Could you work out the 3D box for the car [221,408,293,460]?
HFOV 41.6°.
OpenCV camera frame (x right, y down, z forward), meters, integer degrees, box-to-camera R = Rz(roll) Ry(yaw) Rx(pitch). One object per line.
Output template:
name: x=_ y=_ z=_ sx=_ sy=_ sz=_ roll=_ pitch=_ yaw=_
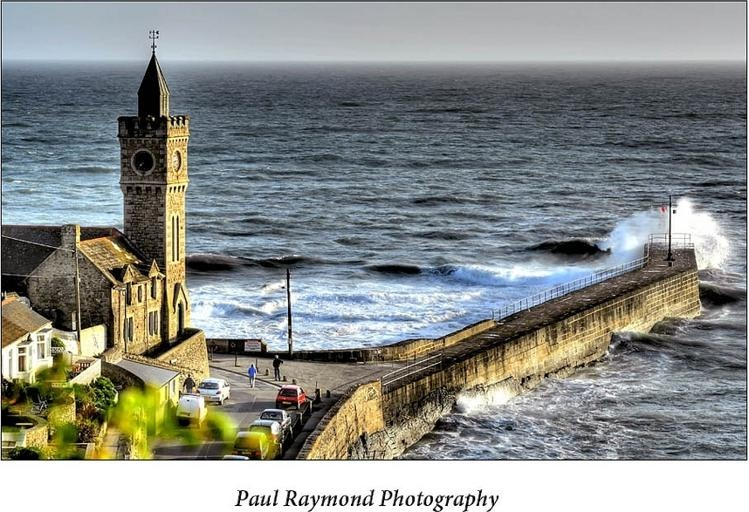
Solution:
car: x=-4.439 y=7.292 z=39.953 sx=1.007 sy=0.681 sz=2.657 roll=7 pitch=15 yaw=8
